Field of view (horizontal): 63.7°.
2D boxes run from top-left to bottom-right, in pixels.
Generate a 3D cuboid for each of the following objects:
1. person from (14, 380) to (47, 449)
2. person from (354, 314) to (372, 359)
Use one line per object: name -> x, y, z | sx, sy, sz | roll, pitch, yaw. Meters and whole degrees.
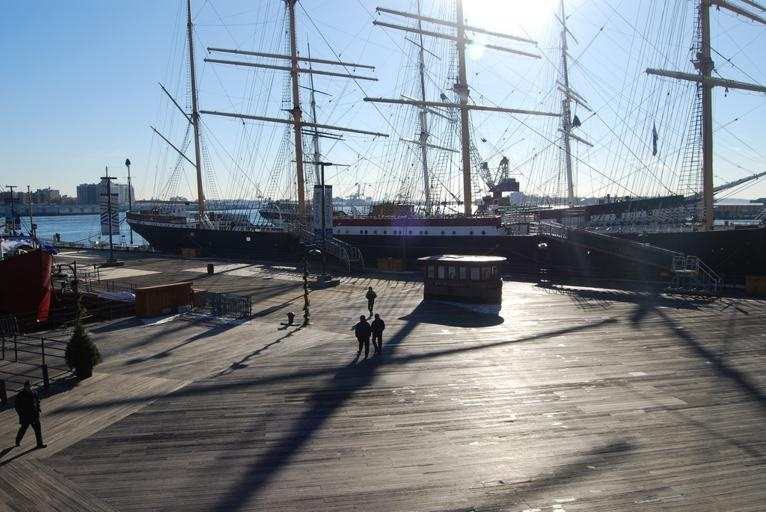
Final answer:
person -> -10.452, 4.691, 18.170 | 0.734, 1.805, 1.141 | -6, 9, -33
person -> -0.781, 3.065, 23.742 | 0.570, 1.518, 1.232 | -1, 8, -4
